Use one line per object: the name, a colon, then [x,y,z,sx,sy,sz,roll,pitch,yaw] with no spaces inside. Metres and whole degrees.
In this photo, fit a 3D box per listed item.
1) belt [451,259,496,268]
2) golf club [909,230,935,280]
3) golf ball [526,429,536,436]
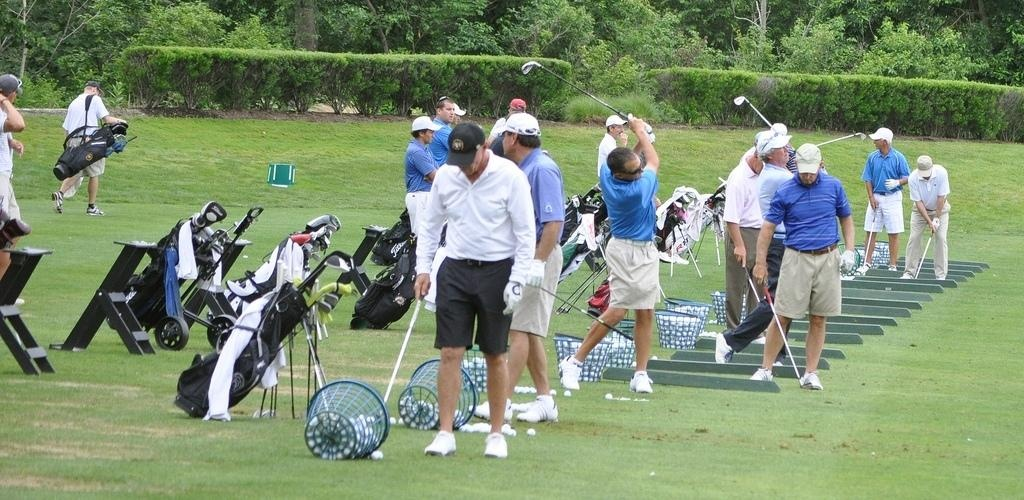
belt: [-0.804,0.267,25.867,0.821,0.140,0.081,1,8,-2]
golf club: [11.742,0.198,37.136,0.205,0.267,1.968,21,50,26]
golf ball: [0.397,3.747,26.495,0.150,0.090,0.139,-2,5,0]
